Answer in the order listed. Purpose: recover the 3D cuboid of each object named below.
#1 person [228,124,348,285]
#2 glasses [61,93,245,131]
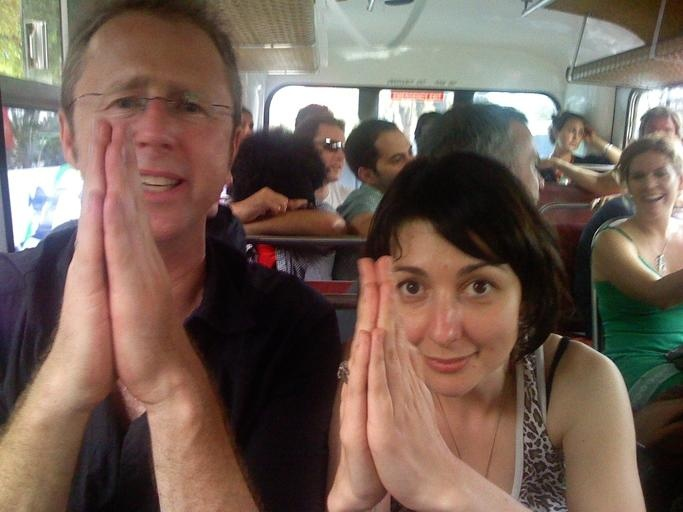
[{"bbox_3d":[-0.211,-0.193,2.205,0.393,0.441,0.757,-9,40,-6],"label":"person"},{"bbox_3d":[-0.350,-0.273,1.104,0.267,0.048,0.049,1,9,-3],"label":"glasses"}]
